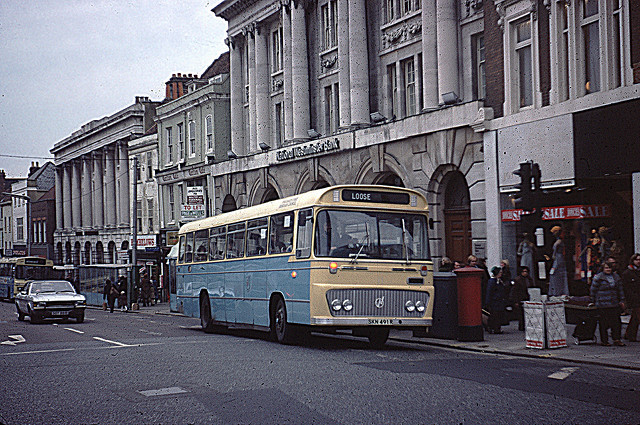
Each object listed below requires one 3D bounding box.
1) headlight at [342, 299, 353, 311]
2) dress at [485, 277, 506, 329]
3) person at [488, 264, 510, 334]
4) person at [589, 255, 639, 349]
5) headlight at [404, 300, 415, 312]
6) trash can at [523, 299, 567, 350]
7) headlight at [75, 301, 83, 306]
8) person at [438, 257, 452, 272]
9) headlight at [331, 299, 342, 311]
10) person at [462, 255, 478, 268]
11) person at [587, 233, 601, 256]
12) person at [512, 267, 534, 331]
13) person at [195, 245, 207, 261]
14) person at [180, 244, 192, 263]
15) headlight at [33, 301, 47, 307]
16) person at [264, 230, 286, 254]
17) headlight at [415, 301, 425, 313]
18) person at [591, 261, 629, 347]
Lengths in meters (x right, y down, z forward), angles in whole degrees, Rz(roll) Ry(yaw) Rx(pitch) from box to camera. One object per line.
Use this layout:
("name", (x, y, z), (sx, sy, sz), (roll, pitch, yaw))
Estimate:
("headlight", (0.704, 2.472, 17.775), (0.226, 0.295, 0.088), (2, 0, -19))
("dress", (5.620, 2.890, 21.137), (0.641, 1.652, 0.410), (-1, -2, -4))
("person", (5.777, 2.829, 21.407), (0.459, 2.092, 1.283), (-2, -2, 32))
("person", (7.852, 2.472, 17.920), (1.129, 2.192, 0.714), (0, -2, -34))
("headlight", (2.463, 2.583, 18.349), (0.263, 0.293, 0.062), (1, 0, -26))
("trash can", (6.143, 3.046, 18.188), (1.121, 1.717, 1.205), (-2, -2, 10))
("headlight", (-11.711, 4.347, 31.823), (0.209, 0.221, 0.065), (-1, 3, -15))
("person", (4.131, 1.724, 21.938), (0.390, 0.798, 0.396), (-2, -2, 43))
("headlight", (0.415, 2.467, 17.721), (0.257, 0.285, 0.063), (-6, 4, -29))
("person", (5.342, 1.728, 23.550), (0.304, 0.368, 1.283), (-1, -15, -7))
("person", (9.542, 1.096, 22.980), (0.443, 0.779, 0.168), (-3, -2, 35))
("person", (6.582, 2.807, 21.573), (0.577, 2.062, 1.122), (-2, -2, 18))
("person", (-4.664, 1.539, 25.510), (0.183, 0.602, 0.994), (-1, -3, -22))
("person", (-5.482, 1.648, 26.847), (0.229, 0.732, 1.213), (-1, -3, -21))
("headlight", (-13.494, 4.339, 31.515), (0.696, 0.264, 0.176), (-2, -2, 14))
("person", (-1.382, 0.867, 20.077), (0.142, 0.672, 1.000), (-1, -3, -22))
("headlight", (2.774, 2.622, 18.463), (0.246, 0.268, 0.233), (14, -12, -32))
("person", (7.871, 2.445, 17.965), (0.877, 2.238, 0.900), (-2, -2, 28))
